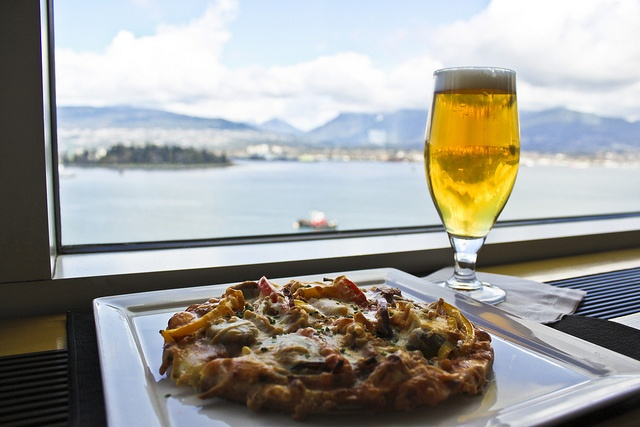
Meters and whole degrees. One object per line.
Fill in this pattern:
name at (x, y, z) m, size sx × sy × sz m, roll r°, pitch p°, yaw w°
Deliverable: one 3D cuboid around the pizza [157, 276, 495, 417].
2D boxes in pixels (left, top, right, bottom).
pizza at (-0.009, 0.240, 0.809) m, size 0.318 × 0.059 × 0.305 m, roll 3°, pitch 6°, yaw -3°
